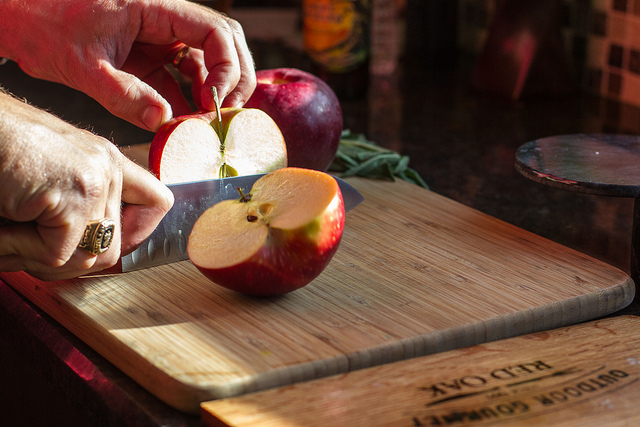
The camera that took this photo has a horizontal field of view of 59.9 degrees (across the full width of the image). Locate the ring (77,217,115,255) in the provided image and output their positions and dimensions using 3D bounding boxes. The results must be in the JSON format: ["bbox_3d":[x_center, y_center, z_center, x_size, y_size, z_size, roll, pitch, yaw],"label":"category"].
[{"bbox_3d":[-0.283,0.032,0.726,0.051,0.031,0.040,3,75,32],"label":"ring"}]

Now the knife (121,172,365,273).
[{"bbox_3d":[-0.104,-0.010,0.947,0.251,0.191,0.348,1,21,9],"label":"knife"}]

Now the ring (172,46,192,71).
[{"bbox_3d":[-0.281,-0.330,1.160,0.010,0.046,0.045,25,69,2],"label":"ring"}]

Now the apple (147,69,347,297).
[{"bbox_3d":[-0.124,-0.024,0.915,0.247,0.255,0.410,-29,40,-8],"label":"apple"}]
